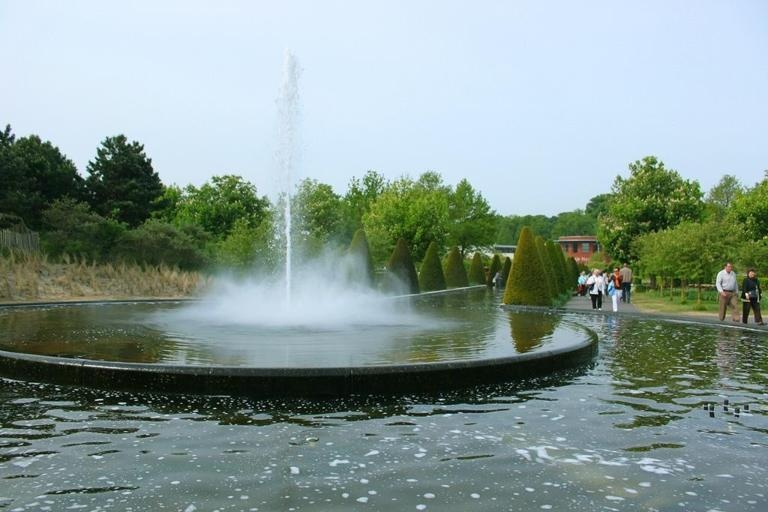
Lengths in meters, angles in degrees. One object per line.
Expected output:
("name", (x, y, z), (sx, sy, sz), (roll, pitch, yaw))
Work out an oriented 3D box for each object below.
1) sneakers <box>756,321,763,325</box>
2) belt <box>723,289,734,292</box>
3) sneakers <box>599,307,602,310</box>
("sneakers", (10.981, 1.956, 18.978), (0.313, 0.136, 0.096), (6, -7, -21))
("belt", (10.434, 1.069, 19.756), (0.261, 0.105, 0.041), (8, 15, 26))
("sneakers", (8.145, 1.998, 24.557), (0.125, 0.057, 0.171), (1, 3, 0))
